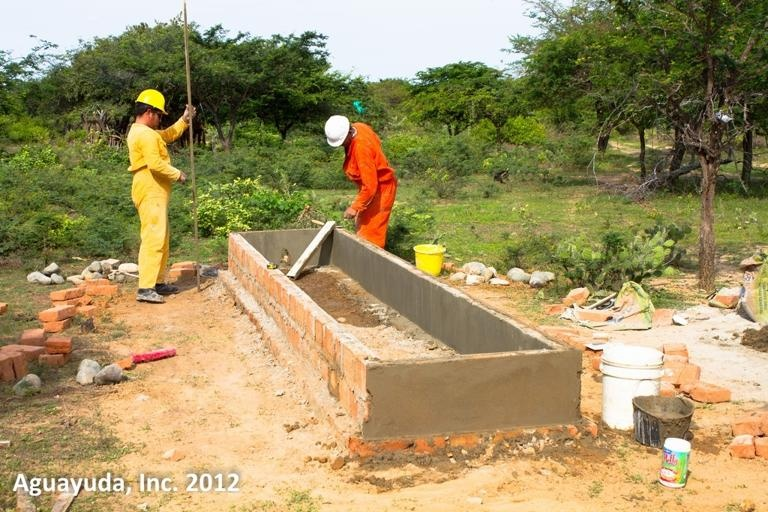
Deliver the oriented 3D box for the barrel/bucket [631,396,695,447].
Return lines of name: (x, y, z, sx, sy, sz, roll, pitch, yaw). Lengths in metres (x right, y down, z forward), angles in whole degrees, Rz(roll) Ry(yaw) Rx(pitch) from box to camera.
barrel/bucket: (2.520, 1.490, 5.780, 0.544, 0.362, 0.585, 0, 4, 0)

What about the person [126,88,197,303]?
person: (-3.265, -0.921, 9.331, 0.812, 3.064, 1.568, -2, 8, -20)

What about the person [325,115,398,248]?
person: (-0.319, -1.030, 9.024, 0.846, 1.882, 1.028, 2, 8, 12)

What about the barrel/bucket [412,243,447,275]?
barrel/bucket: (0.683, 0.076, 9.551, 0.482, 0.391, 0.484, -1, 14, 0)

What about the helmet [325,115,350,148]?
helmet: (-0.595, -1.765, 8.937, 0.340, 0.434, 0.176, 5, 0, 27)

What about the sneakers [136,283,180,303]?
sneakers: (-3.239, 0.539, 9.170, 0.566, 0.264, 0.206, -7, 17, -19)
